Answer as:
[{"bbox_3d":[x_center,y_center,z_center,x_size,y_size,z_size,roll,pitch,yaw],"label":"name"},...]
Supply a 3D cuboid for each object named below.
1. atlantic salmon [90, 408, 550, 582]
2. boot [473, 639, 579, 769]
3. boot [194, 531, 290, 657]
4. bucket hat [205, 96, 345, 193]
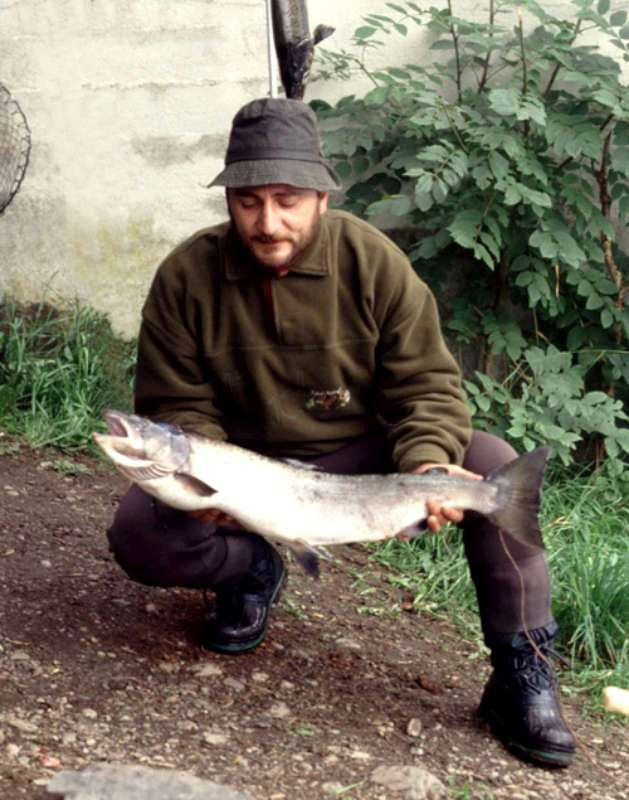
[{"bbox_3d":[-0.020,0.238,2.120,1.278,0.318,0.185,5,-1,25],"label":"atlantic salmon"},{"bbox_3d":[0.619,0.788,2.241,0.175,0.272,0.435,2,5,-5],"label":"boot"},{"bbox_3d":[-0.209,0.616,2.620,0.199,0.189,0.425,7,28,11],"label":"boot"},{"bbox_3d":[-0.133,-0.739,2.302,0.422,0.224,0.406,8,23,20],"label":"bucket hat"}]
